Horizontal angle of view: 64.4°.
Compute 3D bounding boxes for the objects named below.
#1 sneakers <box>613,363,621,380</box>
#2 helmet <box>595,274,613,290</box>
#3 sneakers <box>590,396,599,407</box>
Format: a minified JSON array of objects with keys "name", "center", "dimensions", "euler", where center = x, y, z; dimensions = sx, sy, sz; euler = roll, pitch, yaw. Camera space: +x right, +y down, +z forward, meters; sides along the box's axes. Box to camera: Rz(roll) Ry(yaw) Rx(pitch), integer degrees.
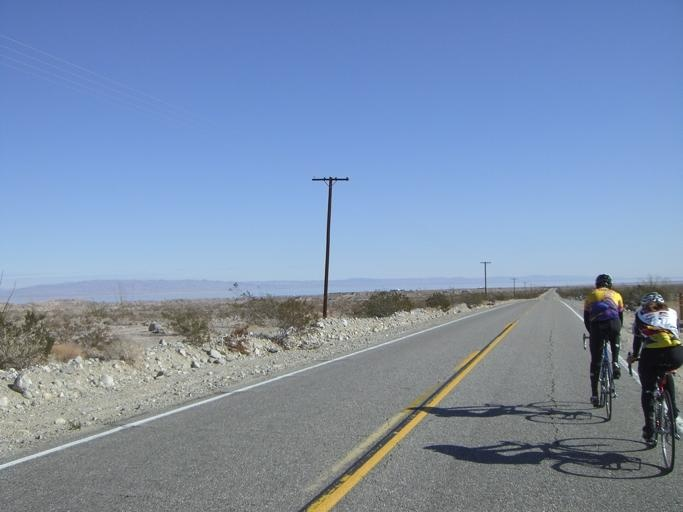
[{"name":"sneakers","center":[4.887,2.043,9.592],"dimensions":[0.113,0.174,0.370],"euler":[-1,-3,18]},{"name":"helmet","center":[4.740,0.481,9.808],"dimensions":[0.260,0.368,0.361],"euler":[-4,-23,23]},{"name":"sneakers","center":[4.708,2.721,10.090],"dimensions":[0.097,0.140,0.318],"euler":[-4,-25,14]}]
